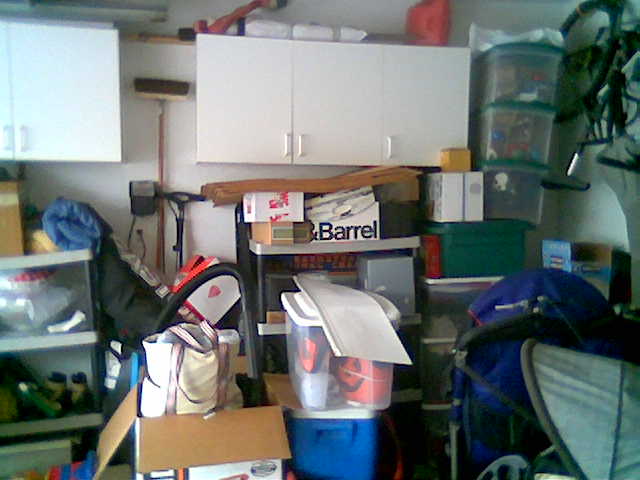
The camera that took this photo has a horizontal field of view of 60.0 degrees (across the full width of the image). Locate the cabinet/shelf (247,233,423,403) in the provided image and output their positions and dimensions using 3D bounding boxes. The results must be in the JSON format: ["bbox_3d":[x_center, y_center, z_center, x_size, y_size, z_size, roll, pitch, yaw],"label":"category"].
[{"bbox_3d":[0.011,0.308,2.773,0.590,0.360,0.599,-2,4,-18],"label":"cabinet/shelf"}]

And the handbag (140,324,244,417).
[{"bbox_3d":[-0.484,0.489,2.051,0.400,0.417,0.230,0,3,-18],"label":"handbag"}]

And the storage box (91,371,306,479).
[{"bbox_3d":[-0.451,0.647,2.129,0.492,0.333,0.491,1,-1,-6],"label":"storage box"}]
